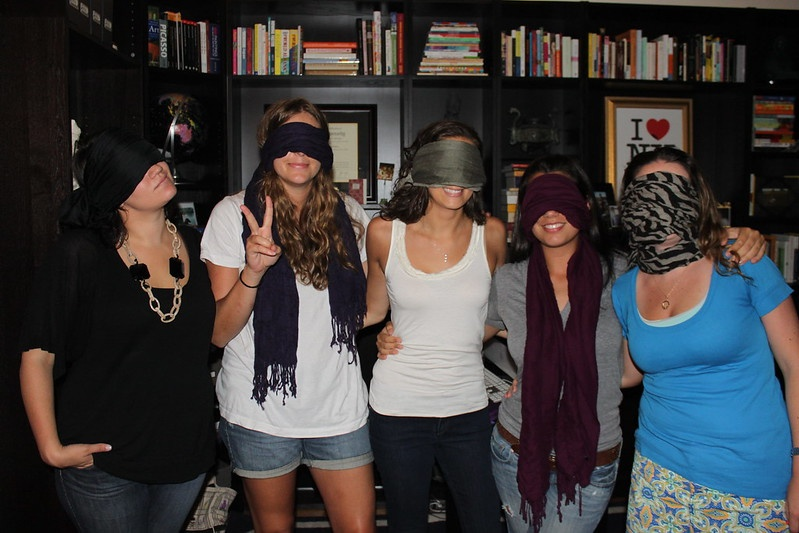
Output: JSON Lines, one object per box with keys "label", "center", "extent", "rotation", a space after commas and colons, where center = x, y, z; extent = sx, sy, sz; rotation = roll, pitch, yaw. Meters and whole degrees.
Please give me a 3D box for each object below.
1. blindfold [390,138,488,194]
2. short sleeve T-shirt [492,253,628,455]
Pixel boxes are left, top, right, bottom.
{"label": "blindfold", "center": [0.188, -0.446, 2.974], "extent": [0.408, 0.215, 0.392], "rotation": [1, -25, 2]}
{"label": "short sleeve T-shirt", "center": [0.654, 0.344, 2.634], "extent": [0.824, 0.796, 0.485], "rotation": [-1, 0, 8]}
